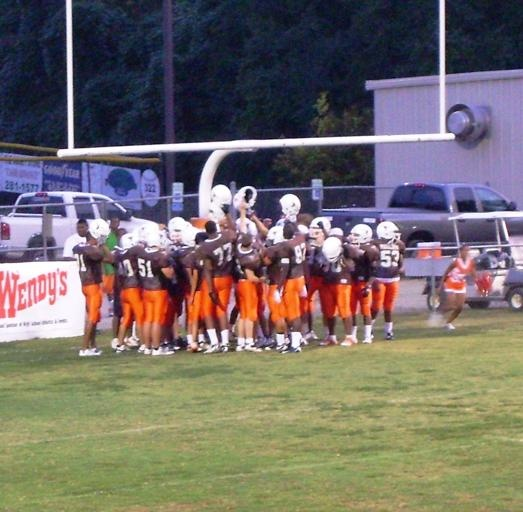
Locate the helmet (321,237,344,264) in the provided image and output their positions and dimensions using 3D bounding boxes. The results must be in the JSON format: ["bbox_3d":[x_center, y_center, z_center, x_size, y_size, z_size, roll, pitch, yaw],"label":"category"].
[{"bbox_3d":[0.978,-0.099,18.885,0.258,0.327,0.295,-4,-25,20],"label":"helmet"}]

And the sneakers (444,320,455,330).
[{"bbox_3d":[2.822,1.047,21.245,0.072,0.071,0.193,2,5,28],"label":"sneakers"}]

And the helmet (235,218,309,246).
[{"bbox_3d":[0.114,-0.326,19.431,0.667,0.205,0.471,2,16,0],"label":"helmet"}]

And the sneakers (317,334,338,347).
[{"bbox_3d":[0.936,1.160,19.636,0.325,0.128,0.106,-2,5,2],"label":"sneakers"}]

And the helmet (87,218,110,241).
[{"bbox_3d":[-2.160,-0.354,18.856,0.258,0.301,0.322,-2,-3,-8],"label":"helmet"}]

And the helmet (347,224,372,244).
[{"bbox_3d":[1.354,-0.305,19.511,0.314,0.226,0.254,3,1,-2],"label":"helmet"}]

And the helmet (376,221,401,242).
[{"bbox_3d":[1.790,-0.342,19.937,0.347,0.247,0.247,-1,9,6],"label":"helmet"}]

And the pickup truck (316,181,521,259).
[{"bbox_3d":[3.135,-0.791,26.113,3.142,1.130,1.596,-6,8,-28],"label":"pickup truck"}]

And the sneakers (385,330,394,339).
[{"bbox_3d":[1.839,1.111,20.117,0.136,0.118,0.079,-1,6,-10],"label":"sneakers"}]

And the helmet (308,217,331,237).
[{"bbox_3d":[0.820,-0.431,19.982,0.313,0.274,0.230,7,-5,-24],"label":"helmet"}]

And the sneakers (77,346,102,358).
[{"bbox_3d":[-2.315,1.272,19.091,0.320,0.109,0.130,-5,-34,-4],"label":"sneakers"}]
